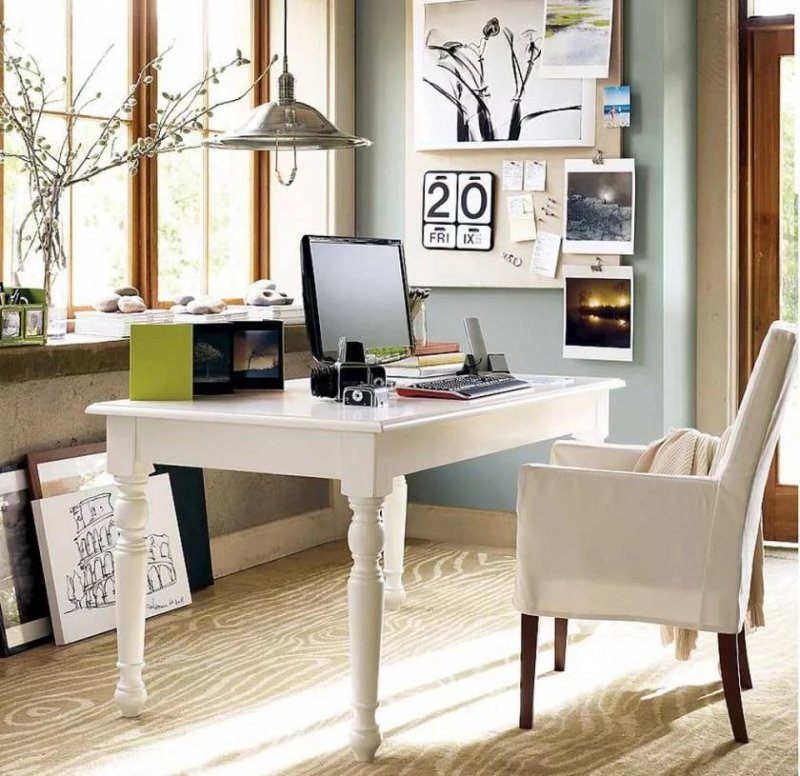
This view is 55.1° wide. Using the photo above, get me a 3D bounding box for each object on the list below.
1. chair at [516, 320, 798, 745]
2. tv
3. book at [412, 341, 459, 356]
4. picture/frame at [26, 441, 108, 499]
[{"bbox_3d":[0.576,0.317,2.235,0.821,1.305,0.703,2,1,18],"label":"chair"},{"bbox_3d":[-0.103,-0.250,2.156,0.383,0.328,0.045,3,14,43],"label":"tv"},{"bbox_3d":[0.103,-0.113,2.234,0.066,0.035,0.186,1,2,39],"label":"book"},{"bbox_3d":[-1.065,0.294,2.520,0.018,0.184,0.293,5,9,37],"label":"picture/frame"}]
